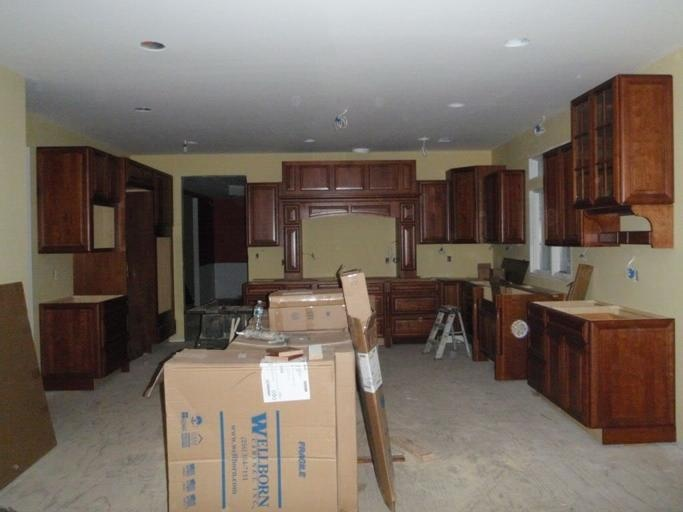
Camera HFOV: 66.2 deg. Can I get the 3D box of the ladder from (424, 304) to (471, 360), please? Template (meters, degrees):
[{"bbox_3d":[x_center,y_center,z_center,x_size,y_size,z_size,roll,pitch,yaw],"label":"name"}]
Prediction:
[{"bbox_3d":[1.595,1.104,7.691,0.744,0.816,0.592,1,-2,-11],"label":"ladder"}]
